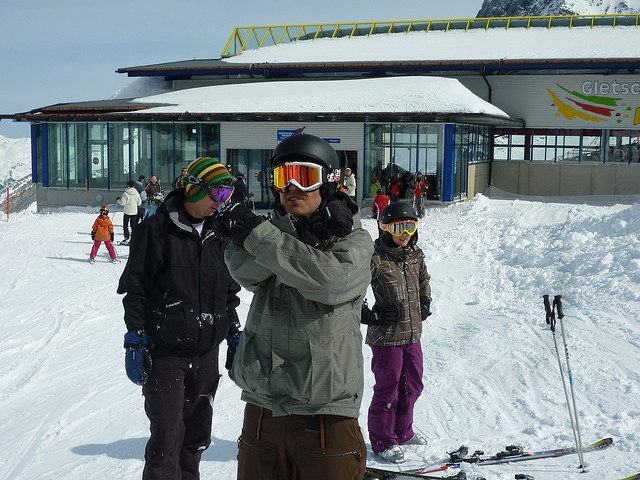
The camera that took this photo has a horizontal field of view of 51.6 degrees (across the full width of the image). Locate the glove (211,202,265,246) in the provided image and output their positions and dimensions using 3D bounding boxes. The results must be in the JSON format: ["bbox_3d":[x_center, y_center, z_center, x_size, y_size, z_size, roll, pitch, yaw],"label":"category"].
[{"bbox_3d":[-0.635,-0.185,5.281,0.398,0.204,0.357,7,10,-31],"label":"glove"}]

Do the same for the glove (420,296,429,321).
[{"bbox_3d":[1.265,0.823,7.830,0.080,0.237,0.171,3,10,-12],"label":"glove"}]

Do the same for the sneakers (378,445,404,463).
[{"bbox_3d":[0.797,2.407,7.408,0.299,0.137,0.197,0,12,4],"label":"sneakers"}]

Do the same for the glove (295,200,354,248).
[{"bbox_3d":[0.033,-0.113,5.187,0.391,0.217,0.341,-9,22,6],"label":"glove"}]

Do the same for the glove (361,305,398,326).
[{"bbox_3d":[0.660,0.867,7.429,0.462,0.237,0.371,2,5,3],"label":"glove"}]

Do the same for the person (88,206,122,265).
[{"bbox_3d":[-5.594,-0.198,16.987,0.662,1.374,1.756,-4,12,-17],"label":"person"}]
